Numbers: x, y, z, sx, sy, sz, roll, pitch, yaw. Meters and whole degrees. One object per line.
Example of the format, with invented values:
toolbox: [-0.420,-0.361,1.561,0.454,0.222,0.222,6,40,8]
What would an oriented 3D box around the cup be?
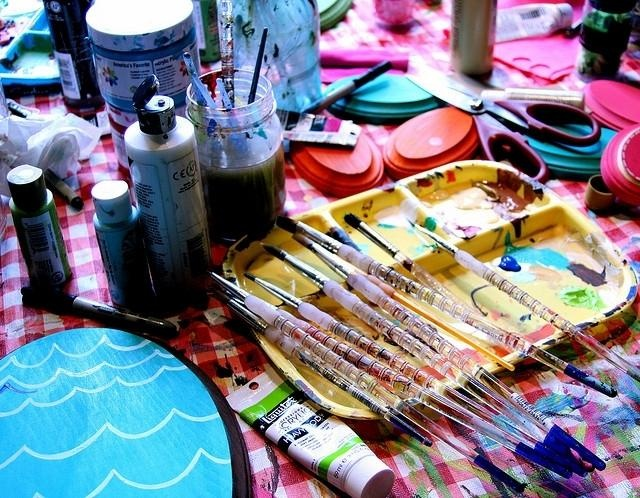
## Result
cup: [-0.117,-0.118,0.723,0.123,0.206,0.126,-2,49,2]

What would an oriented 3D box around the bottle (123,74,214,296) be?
bottle: [-0.188,-0.066,0.659,0.097,0.273,0.057,-15,39,-11]

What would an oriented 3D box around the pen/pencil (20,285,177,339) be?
pen/pencil: [-0.285,0.084,0.695,0.158,0.024,0.027,13,60,18]

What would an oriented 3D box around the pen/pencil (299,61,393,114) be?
pen/pencil: [0.050,-0.296,0.993,0.224,0.025,0.023,-34,36,-14]

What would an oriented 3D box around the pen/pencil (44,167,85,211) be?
pen/pencil: [-0.406,-0.094,0.847,0.021,0.028,0.108,-49,65,8]

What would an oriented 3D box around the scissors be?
scissors: [0.331,-0.196,0.969,0.277,0.057,0.154,34,57,17]
